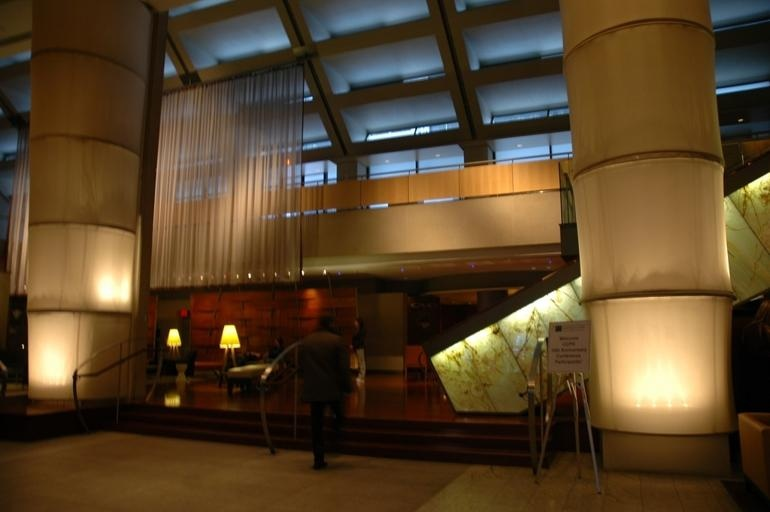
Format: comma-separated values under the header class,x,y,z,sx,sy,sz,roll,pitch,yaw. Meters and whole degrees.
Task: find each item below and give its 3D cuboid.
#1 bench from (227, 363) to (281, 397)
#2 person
class,x,y,z,sx,sy,sz,roll,pitch,yaw
bench,-3.160,2.824,14.018,0.903,0.717,0.832,-1,1,-1
person,-0.935,2.032,9.562,0.783,2.245,0.743,-1,0,-8
